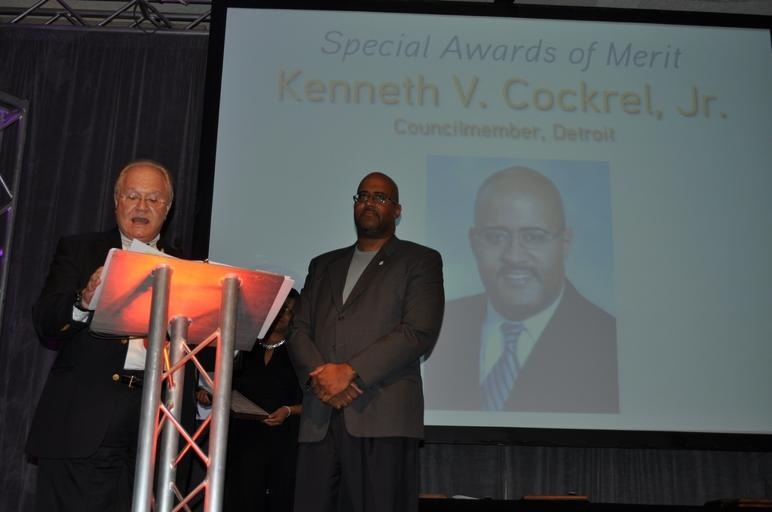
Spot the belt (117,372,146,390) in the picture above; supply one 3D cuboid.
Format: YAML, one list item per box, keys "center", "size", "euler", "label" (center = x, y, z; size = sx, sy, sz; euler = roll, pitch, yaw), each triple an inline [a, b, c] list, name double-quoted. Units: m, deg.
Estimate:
- center: [-1.657, 0.813, 5.406]
  size: [0.175, 0.114, 0.074]
  euler: [14, -6, -7]
  label: "belt"
